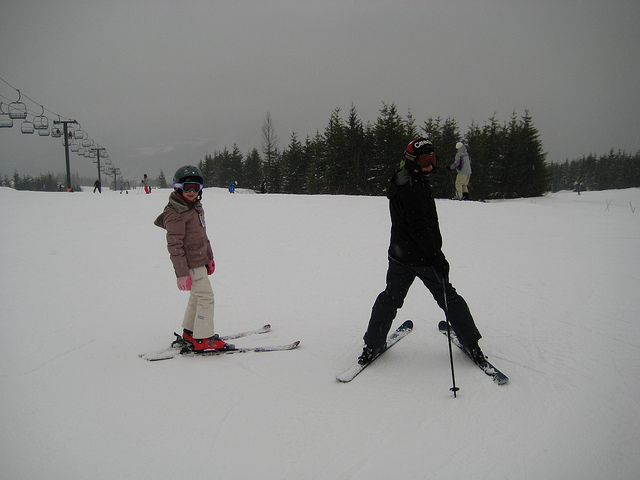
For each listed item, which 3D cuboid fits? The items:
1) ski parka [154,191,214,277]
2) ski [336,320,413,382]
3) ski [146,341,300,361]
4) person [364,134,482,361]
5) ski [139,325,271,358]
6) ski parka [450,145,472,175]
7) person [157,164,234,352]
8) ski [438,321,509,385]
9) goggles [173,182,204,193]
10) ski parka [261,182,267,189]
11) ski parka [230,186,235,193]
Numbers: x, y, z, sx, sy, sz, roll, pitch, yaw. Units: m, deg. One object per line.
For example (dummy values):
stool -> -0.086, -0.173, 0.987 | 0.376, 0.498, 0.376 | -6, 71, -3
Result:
ski parka -> -1.710, -0.091, 6.175 | 0.617, 1.025, 0.467 | -8, 15, -21
ski -> 0.689, 1.405, 6.013 | 0.142, 0.102, 1.301 | -4, 22, 40
ski -> -0.964, 1.422, 6.334 | 1.406, 0.092, 0.201 | -6, 16, -6
person -> 1.253, 0.104, 5.872 | 1.256, 2.618, 1.093 | 4, 15, 25
ski -> -1.562, 1.363, 6.452 | 1.278, 0.166, 0.168 | -10, 10, -21
ski parka -> 4.018, -2.238, 13.743 | 0.638, 0.767, 0.419 | -5, 2, -36
person -> -1.639, 0.251, 6.278 | 0.697, 2.512, 1.260 | -7, 14, -19
ski -> 1.793, 1.316, 6.083 | 0.255, 0.083, 1.689 | -35, 28, 2
goggles -> -1.659, -0.662, 6.140 | 0.360, 0.151, 0.180 | -9, 16, -19
ski parka -> -7.245, -7.022, 63.147 | 0.739, 0.881, 0.200 | -1, -1, 45
ski parka -> -4.050, -2.369, 22.512 | 0.157, 0.337, 0.220 | -9, 21, -21
